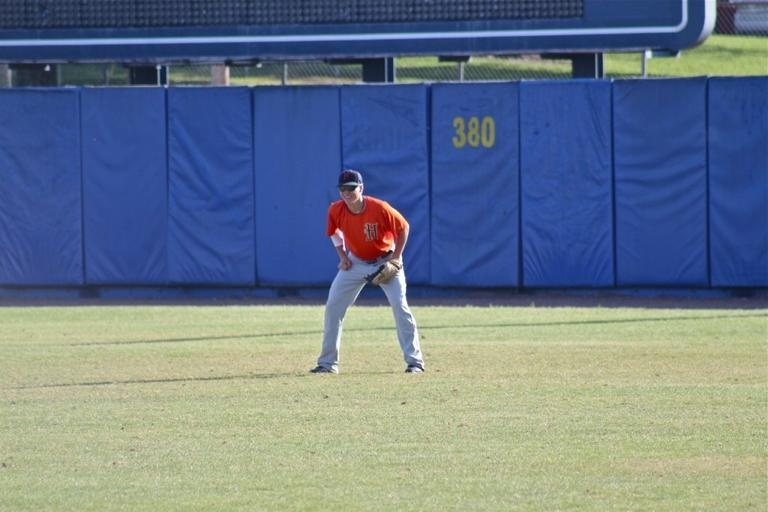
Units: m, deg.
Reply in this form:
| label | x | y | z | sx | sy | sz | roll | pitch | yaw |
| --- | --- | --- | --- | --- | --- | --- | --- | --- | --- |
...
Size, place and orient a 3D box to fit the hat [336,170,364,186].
| label | x | y | z | sx | sy | sz | roll | pitch | yaw |
| --- | --- | --- | --- | --- | --- | --- | --- | --- | --- |
| hat | -0.428 | -1.048 | 28.389 | 0.248 | 0.185 | 0.325 | 0 | 0 | 24 |

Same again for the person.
| label | x | y | z | sx | sy | sz | roll | pitch | yaw |
| --- | --- | --- | --- | --- | --- | --- | --- | --- | --- |
| person | -0.230 | 0.227 | 28.506 | 1.419 | 2.772 | 0.849 | -3 | -7 | 1 |

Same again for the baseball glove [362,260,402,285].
| label | x | y | z | sx | sy | sz | roll | pitch | yaw |
| --- | --- | --- | --- | --- | --- | --- | --- | --- | --- |
| baseball glove | -0.010 | 0.189 | 28.489 | 0.360 | 0.134 | 0.361 | -33 | -21 | -12 |

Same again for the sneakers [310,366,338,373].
| label | x | y | z | sx | sy | sz | roll | pitch | yaw |
| --- | --- | --- | --- | --- | --- | --- | --- | --- | --- |
| sneakers | -0.824 | 1.581 | 28.552 | 0.352 | 0.146 | 0.127 | 4 | -4 | 7 |

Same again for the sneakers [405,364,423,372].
| label | x | y | z | sx | sy | sz | roll | pitch | yaw |
| --- | --- | --- | --- | --- | --- | --- | --- | --- | --- |
| sneakers | 0.415 | 1.539 | 28.565 | 0.191 | 0.084 | 0.102 | 0 | 0 | -36 |
